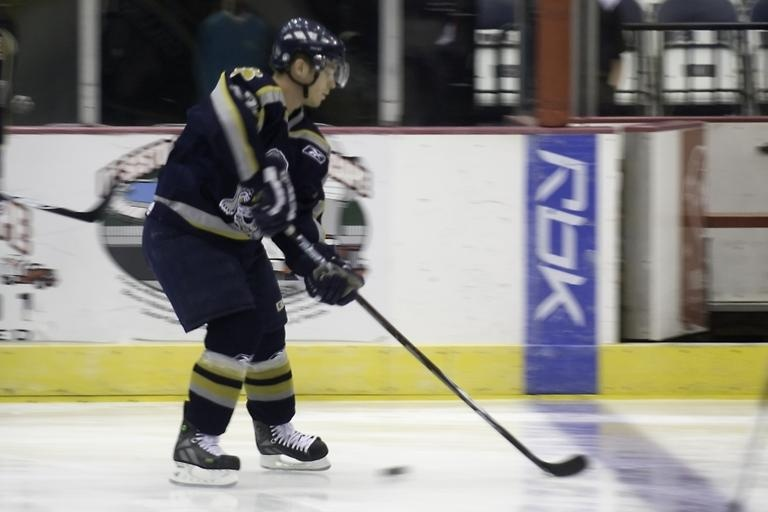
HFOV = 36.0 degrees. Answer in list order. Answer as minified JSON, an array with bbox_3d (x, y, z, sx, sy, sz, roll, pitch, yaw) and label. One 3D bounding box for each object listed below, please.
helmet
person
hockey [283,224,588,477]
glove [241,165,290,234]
[{"bbox_3d":[-0.327,-0.889,5.160,0.467,0.306,0.311,3,8,-4],"label":"helmet"},{"bbox_3d":[-0.592,-0.030,5.174,0.903,2.017,0.358,2,9,-9],"label":"person"},{"bbox_3d":[0.241,0.446,5.891,1.975,0.230,0.212,30,28,9],"label":"hockey"},{"bbox_3d":[-0.482,-0.239,5.018,0.212,0.311,0.094,3,9,-2],"label":"glove"}]
